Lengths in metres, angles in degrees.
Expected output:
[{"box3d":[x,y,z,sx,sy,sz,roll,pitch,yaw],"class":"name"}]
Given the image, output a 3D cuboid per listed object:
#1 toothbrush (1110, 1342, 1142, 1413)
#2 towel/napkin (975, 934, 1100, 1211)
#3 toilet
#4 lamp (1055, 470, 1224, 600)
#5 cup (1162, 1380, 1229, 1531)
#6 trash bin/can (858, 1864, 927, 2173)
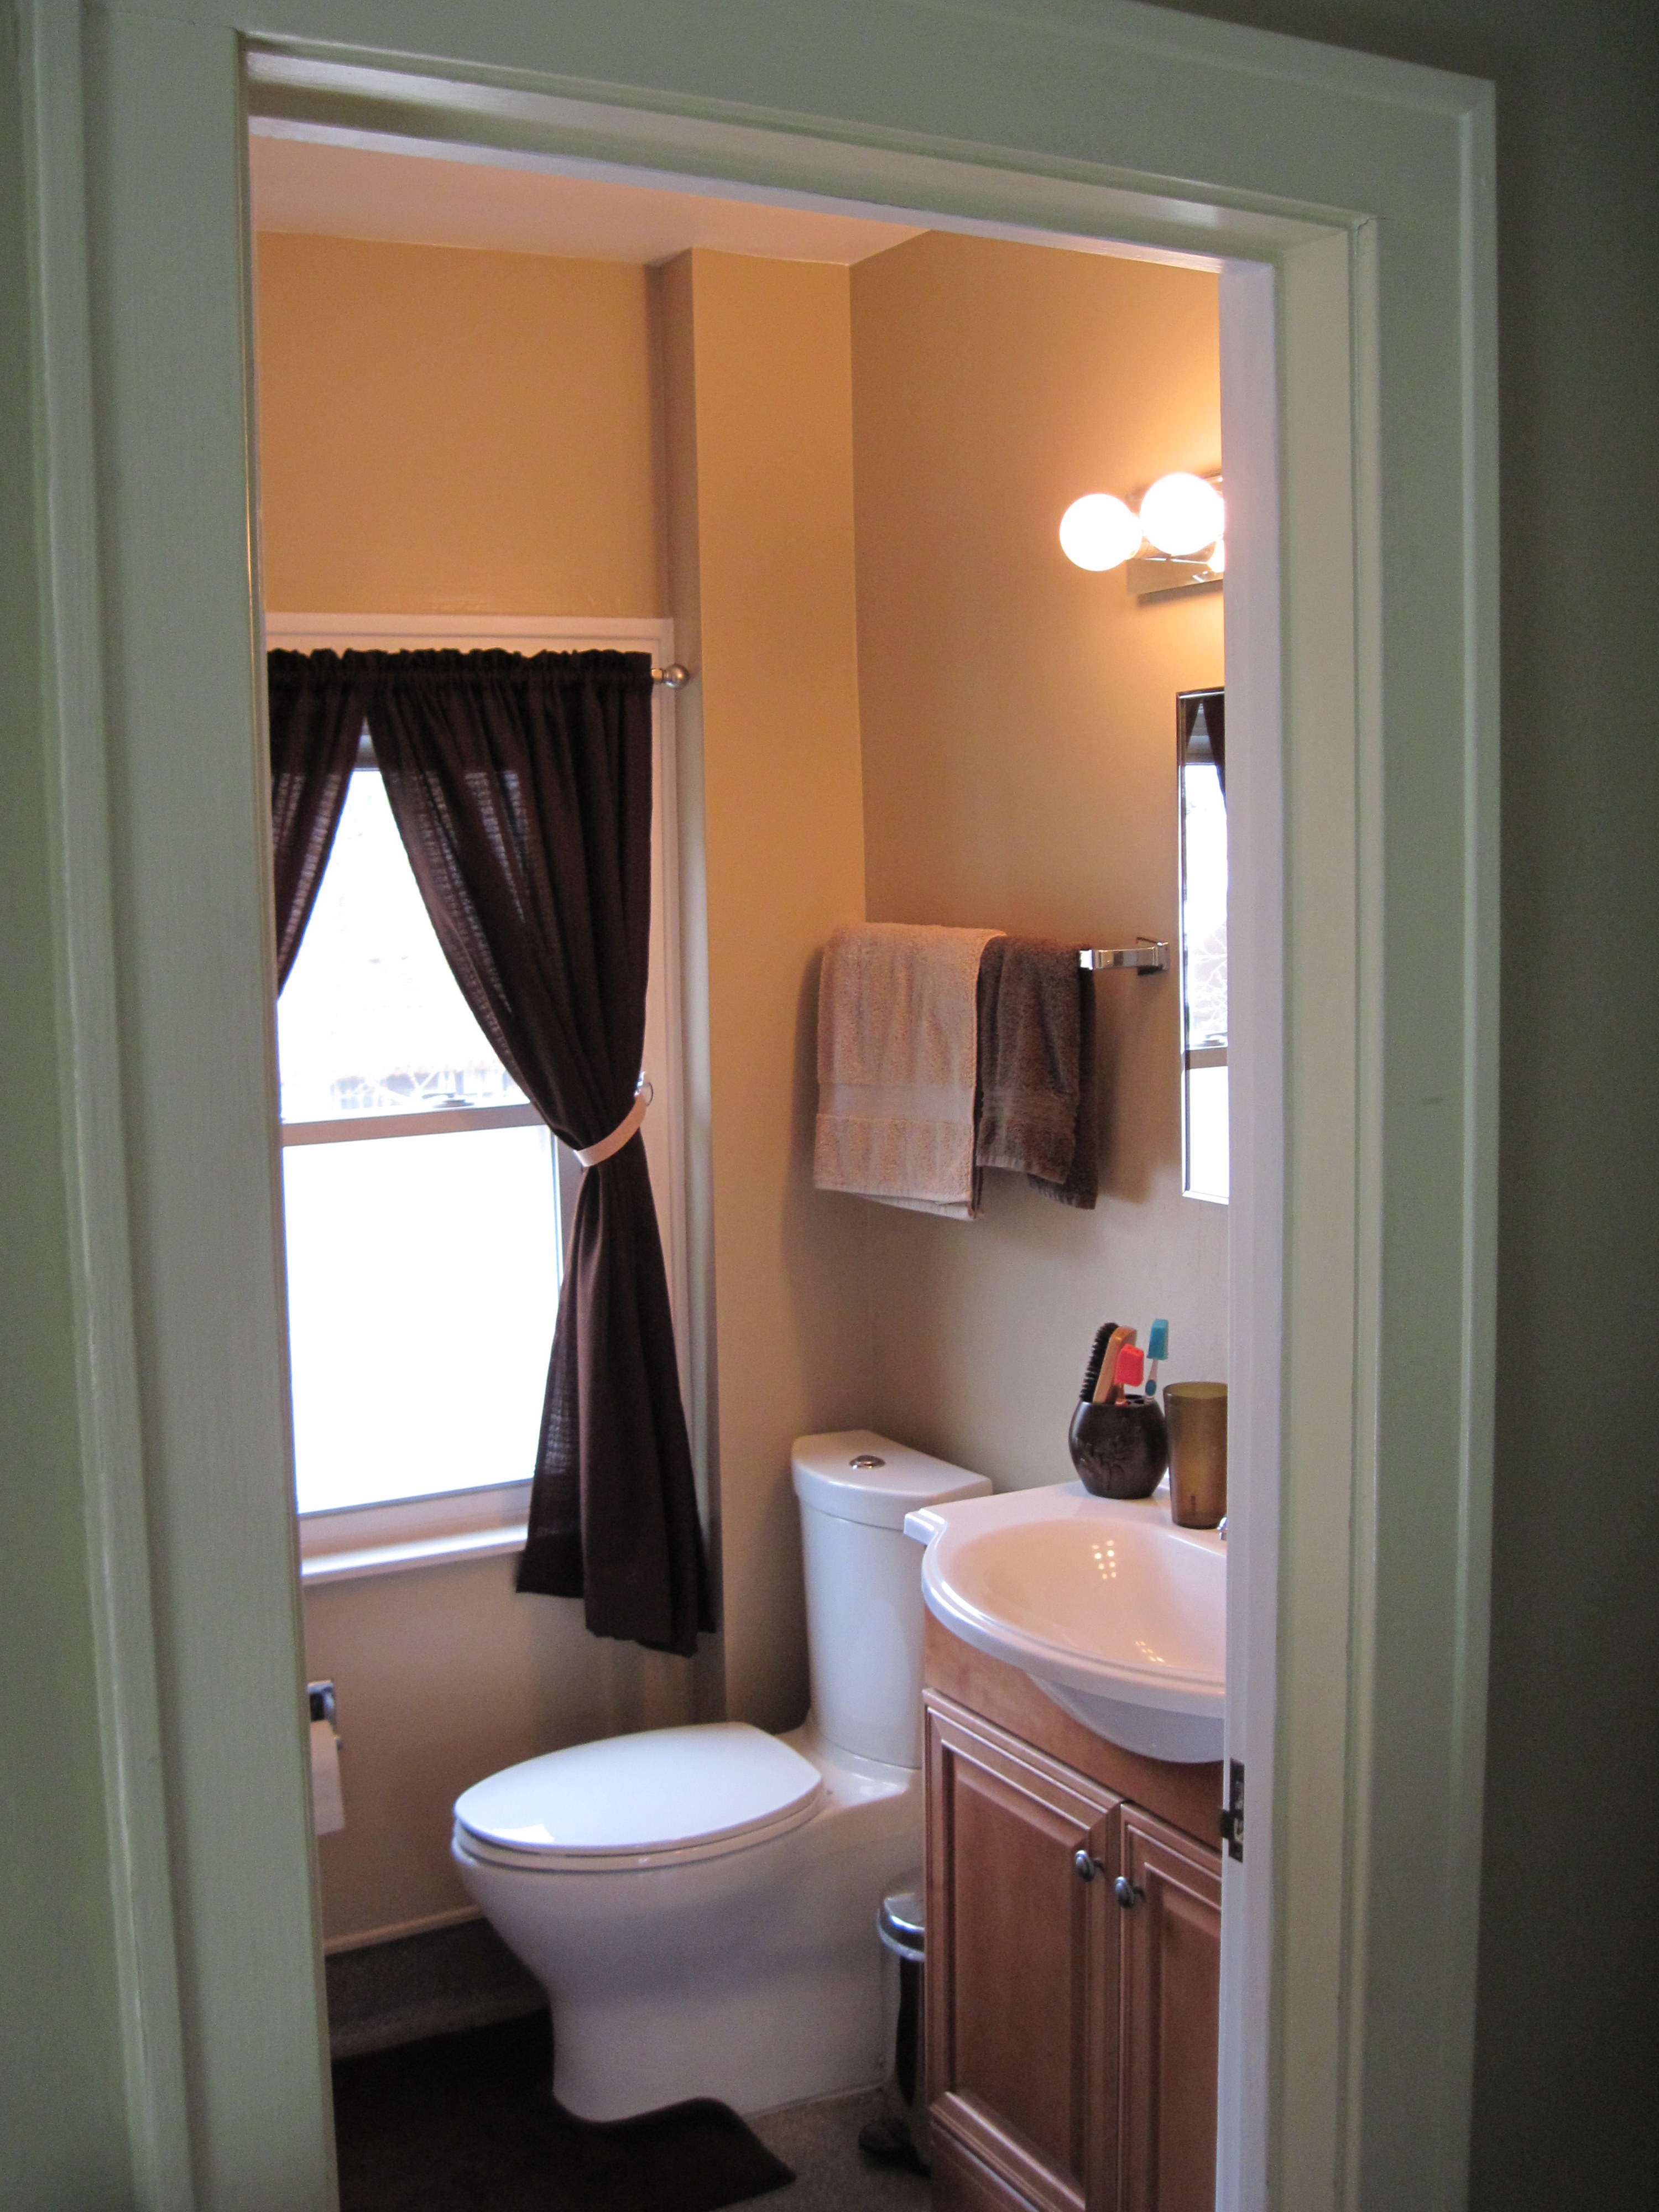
[{"box3d":[0.362,0.324,2.240,0.032,0.064,0.057,1,8,25],"class":"toothbrush"},{"box3d":[0.265,-0.039,2.388,0.065,0.313,0.237,-2,6,-18],"class":"towel/napkin"},{"box3d":[-0.222,0.955,2.949,0.821,1.319,0.563,-1,2,-32],"class":"toilet"},{"box3d":[0.371,-0.658,2.115,0.133,0.129,0.214,-6,8,-23],"class":"lamp"},{"box3d":[0.429,0.405,2.133,0.070,0.153,0.071,2,-4,0],"class":"cup"},{"box3d":[0.112,1.214,2.474,0.117,0.262,0.086,-5,3,-20],"class":"trash bin/can"}]
